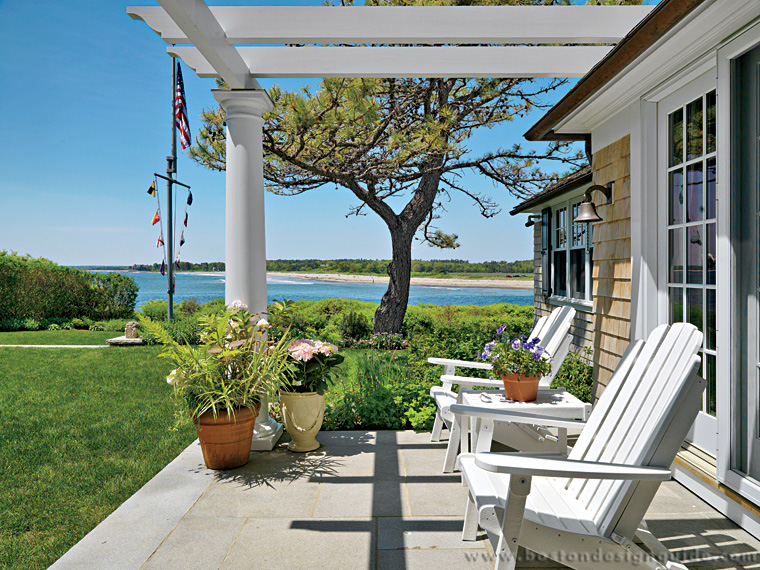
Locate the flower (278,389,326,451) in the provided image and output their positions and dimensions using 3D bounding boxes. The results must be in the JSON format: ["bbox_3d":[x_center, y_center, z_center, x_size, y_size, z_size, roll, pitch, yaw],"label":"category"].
[{"bbox_3d":[-0.644,1.132,4.728,0.411,0.512,0.452,-1,-11,0],"label":"flower"}]

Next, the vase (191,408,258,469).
[{"bbox_3d":[-1.196,1.202,4.369,0.443,0.369,0.455,-1,-3,-1],"label":"vase"}]

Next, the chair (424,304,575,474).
[{"bbox_3d":[1.127,0.827,5.074,1.305,1.549,1.085,0,-6,-3],"label":"chair"}]

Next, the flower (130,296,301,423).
[{"bbox_3d":[-1.249,0.632,4.556,1.118,0.944,0.727,0,1,-15],"label":"flower"}]

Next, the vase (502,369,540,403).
[{"bbox_3d":[1.038,0.756,4.224,0.212,0.151,0.225,0,-7,-3],"label":"vase"}]

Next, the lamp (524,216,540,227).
[{"bbox_3d":[2.744,-1.129,10.034,0.174,0.150,0.185,1,-4,-1],"label":"lamp"}]

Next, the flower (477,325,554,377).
[{"bbox_3d":[1.023,0.520,4.294,0.391,0.316,0.437,3,0,18],"label":"flower"}]
